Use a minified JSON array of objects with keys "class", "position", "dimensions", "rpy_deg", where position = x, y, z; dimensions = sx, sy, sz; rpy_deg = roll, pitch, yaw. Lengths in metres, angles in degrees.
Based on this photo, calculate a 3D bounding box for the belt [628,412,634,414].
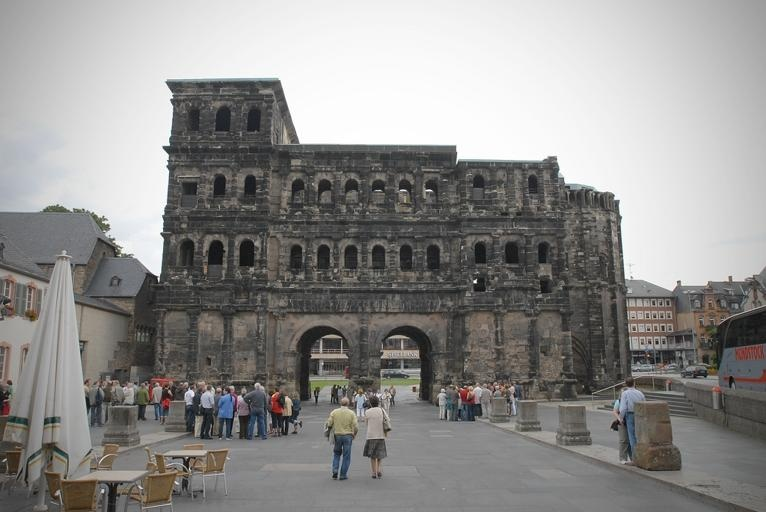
[{"class":"belt","position":[9.351,5.963,27.371],"dimensions":[0.132,0.086,0.347],"rpy_deg":[0,-13,-7]}]

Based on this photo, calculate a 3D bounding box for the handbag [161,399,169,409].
[{"class":"handbag","position":[-12.895,8.698,42.489],"dimensions":[0.607,0.709,0.397],"rpy_deg":[-1,5,-16]}]

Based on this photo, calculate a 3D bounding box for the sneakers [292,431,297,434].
[{"class":"sneakers","position":[-4.671,9.270,37.852],"dimensions":[0.273,0.118,0.370],"rpy_deg":[0,-13,-7]}]

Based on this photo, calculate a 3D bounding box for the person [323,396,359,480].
[{"class":"person","position":[-1.576,6.844,27.035],"dimensions":[1.341,2.998,1.201],"rpy_deg":[-12,-17,37]}]
